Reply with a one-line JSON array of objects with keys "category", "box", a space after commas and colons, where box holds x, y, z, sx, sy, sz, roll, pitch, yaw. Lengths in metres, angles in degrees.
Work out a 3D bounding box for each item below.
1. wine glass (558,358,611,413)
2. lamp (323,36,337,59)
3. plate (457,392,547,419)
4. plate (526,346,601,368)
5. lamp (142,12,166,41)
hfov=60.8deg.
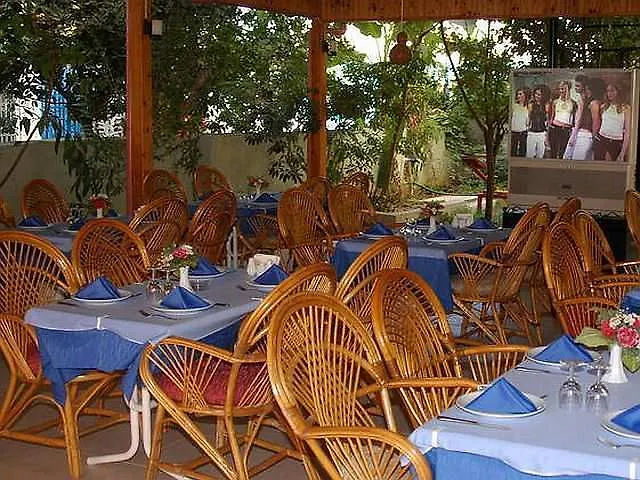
[{"category": "wine glass", "box": [0.823, 0.454, 1.687, 0.120, 0.111, 0.056, 0, 0, 2]}, {"category": "lamp", "box": [0.178, -3.370, 9.433, 0.221, 0.305, 0.233, 3, 4, 11]}, {"category": "plate", "box": [0.525, 0.474, 1.579, 0.242, 0.028, 0.215, 3, 3, 23]}, {"category": "plate", "box": [0.890, 0.446, 2.050, 0.144, 0.021, 0.145, -2, 9, -6]}, {"category": "lamp", "box": [-2.153, -2.801, 7.125, 0.290, 0.290, 0.223, 6, 6, 44]}]
